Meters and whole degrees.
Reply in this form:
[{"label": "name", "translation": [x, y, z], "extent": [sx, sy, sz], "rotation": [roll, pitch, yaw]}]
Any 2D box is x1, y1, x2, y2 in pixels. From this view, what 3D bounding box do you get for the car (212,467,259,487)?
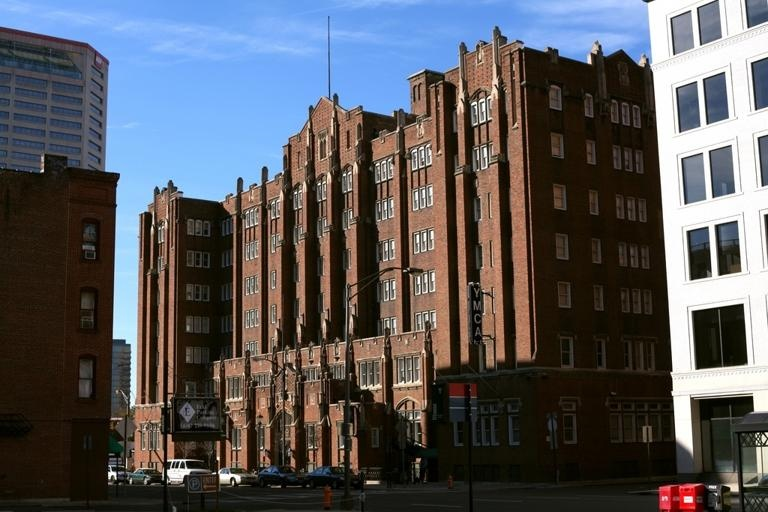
[{"label": "car", "translation": [-14.732, 22.180, 121.483], "extent": [3.989, 1.920, 2.109], "rotation": [-15, -19, 38]}]
